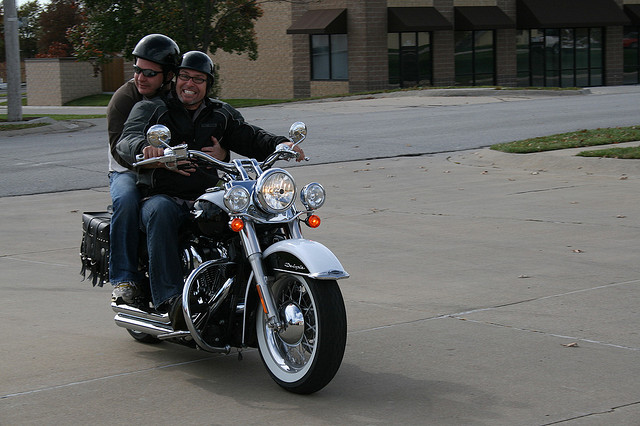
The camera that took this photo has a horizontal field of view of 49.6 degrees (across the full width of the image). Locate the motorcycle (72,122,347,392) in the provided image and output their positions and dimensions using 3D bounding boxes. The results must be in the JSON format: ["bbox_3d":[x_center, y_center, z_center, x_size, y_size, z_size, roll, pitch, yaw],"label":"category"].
[{"bbox_3d":[-0.751,0.308,5.222,1.256,1.908,1.666,-5,6,-27],"label":"motorcycle"}]
